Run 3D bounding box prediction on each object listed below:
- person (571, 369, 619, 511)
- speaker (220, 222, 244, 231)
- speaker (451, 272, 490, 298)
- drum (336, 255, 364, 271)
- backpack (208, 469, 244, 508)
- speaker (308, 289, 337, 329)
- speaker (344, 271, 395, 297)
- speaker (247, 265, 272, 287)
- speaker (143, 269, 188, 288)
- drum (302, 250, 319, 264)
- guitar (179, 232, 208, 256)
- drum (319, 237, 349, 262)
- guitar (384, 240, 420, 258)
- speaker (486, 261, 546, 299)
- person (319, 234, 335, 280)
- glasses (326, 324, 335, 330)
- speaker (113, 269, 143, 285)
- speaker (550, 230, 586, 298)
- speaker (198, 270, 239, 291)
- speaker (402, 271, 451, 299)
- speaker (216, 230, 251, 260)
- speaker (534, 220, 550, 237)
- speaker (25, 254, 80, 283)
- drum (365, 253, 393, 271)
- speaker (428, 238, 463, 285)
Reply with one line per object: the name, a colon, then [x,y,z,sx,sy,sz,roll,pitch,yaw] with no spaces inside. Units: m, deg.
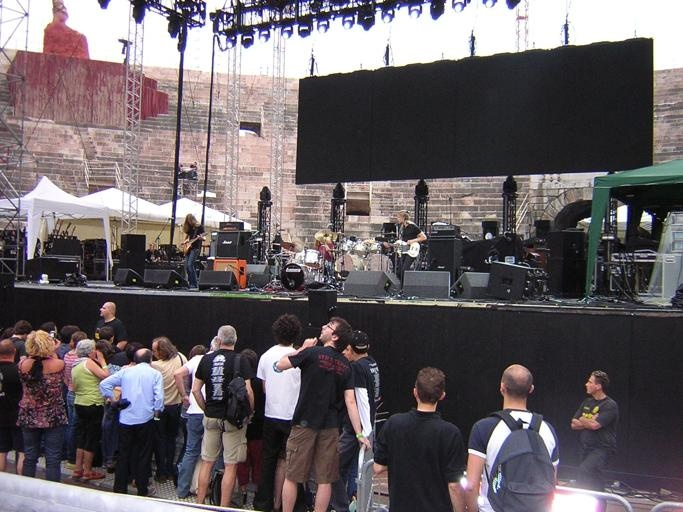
person: [3.634,2.479,10.893,0.606,1.769,0.794,3,0,20]
speaker: [-2.508,-0.665,17.387,0.398,0.237,0.194,3,-5,1]
speaker: [2.365,0.535,13.559,0.582,0.436,0.404,1,4,-37]
drum: [0.175,0.153,16.435,0.549,0.608,0.318,-2,-1,31]
backpack: [-1.664,3.370,10.868,0.380,0.623,0.212,0,3,2]
speaker: [-0.305,0.853,12.367,0.410,0.673,0.372,8,9,26]
speaker: [0.513,0.497,13.497,0.959,0.471,0.666,4,-1,1]
speaker: [-1.758,0.412,16.062,0.403,0.599,0.557,-2,5,-27]
speaker: [-3.490,0.455,14.926,0.911,0.386,0.420,3,-1,33]
drum: [-0.597,0.007,15.234,0.242,0.258,0.260,4,6,6]
guitar: [-3.166,-0.267,16.193,0.421,0.448,0.491,3,-1,-9]
drum: [-0.181,-0.145,16.922,0.476,0.607,0.526,4,14,24]
guitar: [1.334,-0.163,15.890,0.521,0.356,1.119,4,-1,-23]
speaker: [3.296,0.478,13.572,0.709,0.651,1.643,3,-1,44]
person: [-0.285,0.071,16.256,0.524,0.798,0.797,1,-18,-7]
glasses: [-0.155,0.955,10.315,0.078,0.104,0.202,3,-1,-24]
speaker: [-4.430,0.443,15.731,0.441,0.340,0.364,0,10,38]
speaker: [4.499,0.205,15.161,0.785,1.453,0.876,1,1,12]
speaker: [-2.436,0.472,14.806,0.739,0.398,0.305,3,-1,12]
speaker: [1.504,0.508,13.364,0.639,0.471,0.484,0,5,19]
speaker: [-2.453,-0.140,17.279,0.723,0.830,0.591,0,-3,15]
speaker: [5.126,-0.677,19.275,0.383,0.474,1.280,3,-1,15]
speaker: [-6.521,0.488,16.921,0.595,0.658,0.896,-4,-5,35]
drum: [0.838,0.135,16.347,0.631,0.363,0.643,4,-1,0]
speaker: [2.007,0.189,15.202,0.570,1.017,0.595,3,-32,5]
